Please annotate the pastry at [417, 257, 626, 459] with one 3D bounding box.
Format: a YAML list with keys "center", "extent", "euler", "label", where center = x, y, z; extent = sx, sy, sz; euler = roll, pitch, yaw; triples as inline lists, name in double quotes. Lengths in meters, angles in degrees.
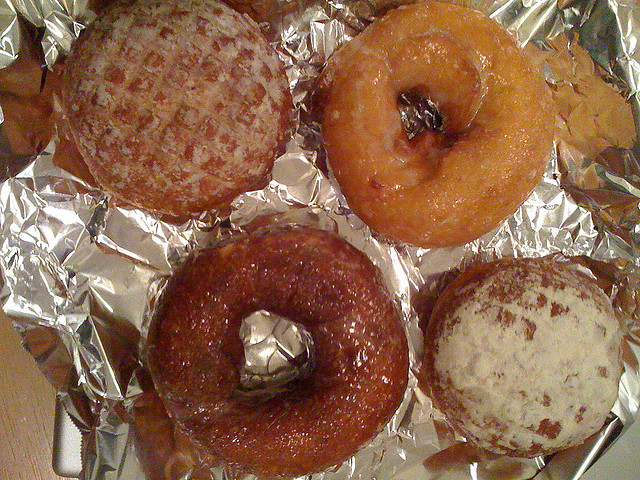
- center: [0.506, 0.295, 1.553]
  extent: [0.474, 0.167, 0.494]
  euler: [-7, 87, -2]
  label: "pastry"

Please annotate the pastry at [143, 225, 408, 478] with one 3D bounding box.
- center: [-0.096, 0.282, 1.581]
  extent: [0.591, 0.220, 0.594]
  euler: [-38, 86, -5]
  label: "pastry"

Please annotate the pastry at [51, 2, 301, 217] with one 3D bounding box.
- center: [-0.318, -0.299, 1.543]
  extent: [0.506, 0.149, 0.474]
  euler: [36, 91, -14]
  label: "pastry"
